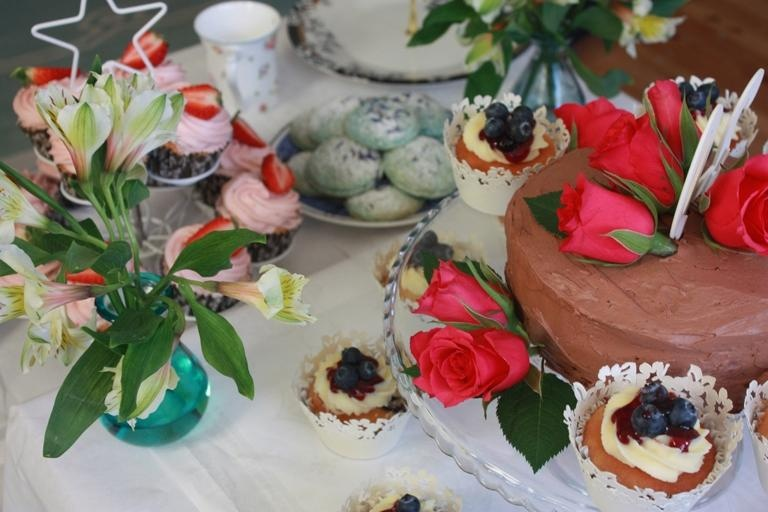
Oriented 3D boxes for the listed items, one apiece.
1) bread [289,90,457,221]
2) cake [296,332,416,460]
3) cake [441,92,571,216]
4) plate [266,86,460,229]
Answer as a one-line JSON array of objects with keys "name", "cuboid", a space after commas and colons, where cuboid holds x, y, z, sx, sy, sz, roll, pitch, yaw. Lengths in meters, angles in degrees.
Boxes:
[{"name": "bread", "cuboid": [-0.018, -0.190, 1.408, 0.255, 0.106, 0.275, 15, 75, 7]}, {"name": "cake", "cuboid": [-0.047, 0.233, 1.182, 0.189, 0.136, 0.199, -9, 43, -11]}, {"name": "cake", "cuboid": [0.168, -0.168, 1.161, 0.186, 0.135, 0.194, -16, 55, -10]}, {"name": "plate", "cuboid": [-0.028, -0.186, 1.412, 0.282, 0.107, 0.298, 23, 67, 12]}]
